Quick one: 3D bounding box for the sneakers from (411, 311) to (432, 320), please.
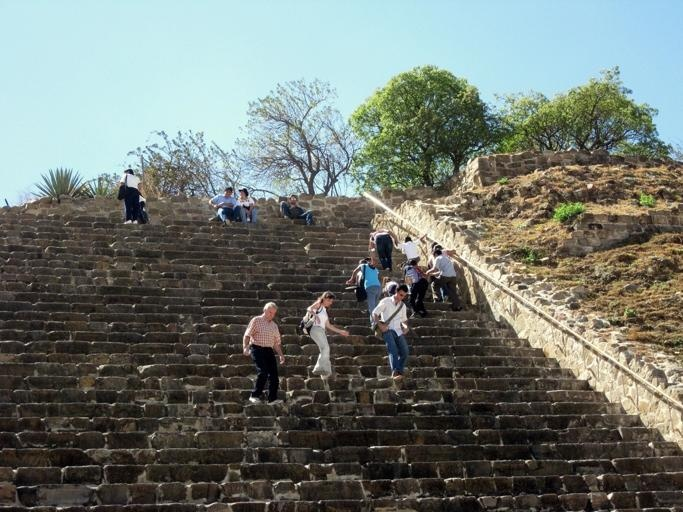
[{"bbox_3d":[1.482,1.111,12.846,0.387,0.174,0.136,-2,-7,40],"label":"sneakers"}]

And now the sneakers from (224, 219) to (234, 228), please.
[{"bbox_3d":[-2.815,-0.796,17.067,0.221,0.266,0.306,-9,-35,-14],"label":"sneakers"}]

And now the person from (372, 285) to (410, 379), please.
[{"bbox_3d":[0.827,1.218,10.796,0.573,1.481,0.406,-7,-23,0],"label":"person"}]

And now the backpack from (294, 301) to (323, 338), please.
[{"bbox_3d":[-0.430,0.992,10.514,0.167,0.636,0.354,27,-6,-18],"label":"backpack"}]

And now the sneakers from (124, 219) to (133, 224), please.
[{"bbox_3d":[-5.162,-0.837,16.615,0.165,0.084,0.228,-2,2,-2],"label":"sneakers"}]

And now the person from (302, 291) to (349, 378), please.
[{"bbox_3d":[-0.273,1.314,11.041,0.594,1.263,0.646,-6,-36,5],"label":"person"}]

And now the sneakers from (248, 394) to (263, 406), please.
[{"bbox_3d":[-1.196,2.024,9.565,0.187,0.170,0.305,-4,-24,-9],"label":"sneakers"}]

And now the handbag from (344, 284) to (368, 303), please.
[{"bbox_3d":[0.254,0.708,12.846,0.385,0.376,0.284,-15,0,4],"label":"handbag"}]

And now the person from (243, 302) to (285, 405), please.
[{"bbox_3d":[-1.121,1.476,9.890,0.560,1.416,0.980,-4,-24,-8],"label":"person"}]

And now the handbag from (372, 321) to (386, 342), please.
[{"bbox_3d":[0.584,1.223,11.285,0.263,0.344,0.350,1,-2,2],"label":"handbag"}]

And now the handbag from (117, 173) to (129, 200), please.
[{"bbox_3d":[-5.293,-1.760,16.617,0.178,0.691,0.414,4,-26,-24],"label":"handbag"}]
